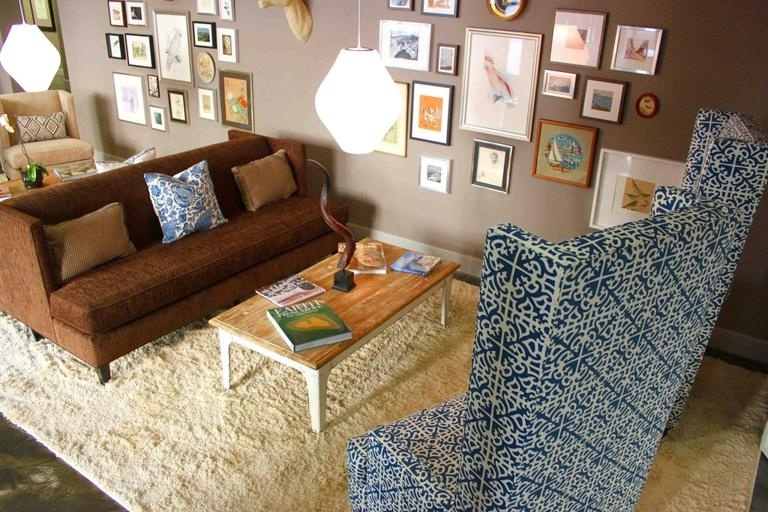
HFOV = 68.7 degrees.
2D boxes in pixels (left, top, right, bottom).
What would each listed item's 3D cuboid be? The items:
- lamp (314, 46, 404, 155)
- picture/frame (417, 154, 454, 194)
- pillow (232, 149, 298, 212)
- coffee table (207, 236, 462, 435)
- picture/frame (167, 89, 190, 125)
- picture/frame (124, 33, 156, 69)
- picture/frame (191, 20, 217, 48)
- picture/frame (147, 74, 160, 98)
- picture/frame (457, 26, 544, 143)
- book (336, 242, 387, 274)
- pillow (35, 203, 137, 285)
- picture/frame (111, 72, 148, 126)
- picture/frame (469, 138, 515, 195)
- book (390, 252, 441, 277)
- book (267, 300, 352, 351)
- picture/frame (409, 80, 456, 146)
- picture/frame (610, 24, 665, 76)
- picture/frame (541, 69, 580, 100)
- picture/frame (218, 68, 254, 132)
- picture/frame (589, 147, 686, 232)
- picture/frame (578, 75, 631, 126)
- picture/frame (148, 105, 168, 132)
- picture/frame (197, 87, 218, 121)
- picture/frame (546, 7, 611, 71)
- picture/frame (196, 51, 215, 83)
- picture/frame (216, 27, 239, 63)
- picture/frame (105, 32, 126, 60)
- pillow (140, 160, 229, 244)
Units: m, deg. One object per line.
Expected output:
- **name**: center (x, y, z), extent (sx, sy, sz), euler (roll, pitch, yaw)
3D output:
- **lamp**: center (-0.086, -1.082, 3.949), extent (0.592, 0.629, 0.579), euler (17, 41, 18)
- **picture/frame**: center (0.455, -0.729, 4.904), extent (0.307, 0.293, 0.030), euler (18, 30, 30)
- **pillow**: center (-1.016, -0.666, 4.957), extent (0.217, 0.397, 0.573), euler (-20, 11, 41)
- **coffee table**: center (-0.417, 0.142, 3.520), extent (0.992, 0.584, 1.643), euler (20, 35, 32)
- **picture/frame**: center (-2.241, -1.647, 6.150), extent (0.315, 0.368, 0.037), euler (18, 29, 32)
- **picture/frame**: center (-2.678, -2.275, 6.212), extent (0.386, 0.289, 0.027), euler (23, 34, 30)
- **picture/frame**: center (-1.810, -2.246, 5.682), extent (0.271, 0.226, 0.035), euler (16, 29, 29)
- **picture/frame**: center (-2.565, -1.899, 6.272), extent (0.205, 0.279, 0.029), euler (17, 28, 28)
- **picture/frame**: center (0.933, -1.370, 4.403), extent (0.774, 1.015, 0.044), euler (15, 29, 24)
- **book**: center (-0.128, 0.022, 4.074), extent (0.227, 0.047, 0.331), euler (0, 32, 1)
- **pillow**: center (-2.023, -0.074, 3.772), extent (0.163, 0.298, 0.469), euler (16, 30, 30)
- **picture/frame**: center (-2.938, -1.846, 6.528), extent (0.525, 0.530, 0.042), euler (23, 37, 34)
- **picture/frame**: center (0.894, -0.750, 4.619), extent (0.407, 0.442, 0.033), euler (14, 25, 30)
- **book**: center (0.222, 0.053, 4.055), extent (0.209, 0.048, 0.209), euler (11, 32, 22)
- **book**: center (-0.451, 0.404, 3.399), extent (0.320, 0.056, 0.306), euler (-11, 30, -27)
- **picture/frame**: center (0.420, -1.228, 4.755), extent (0.458, 0.545, 0.036), euler (19, 35, 31)
- **picture/frame**: center (1.759, -1.430, 3.882), extent (0.328, 0.329, 0.025), euler (18, 33, 29)
- **picture/frame**: center (1.321, -1.280, 4.190), extent (0.230, 0.173, 0.018), euler (20, 38, 29)
- **picture/frame**: center (-1.492, -1.607, 5.716), extent (0.603, 0.662, 0.029), euler (24, 37, 34)
- **picture/frame**: center (1.859, -0.422, 4.128), extent (0.055, 0.624, 0.661), euler (-17, 28, -37)
- **picture/frame**: center (1.603, -1.132, 4.063), extent (0.325, 0.321, 0.025), euler (20, 35, 27)
- **picture/frame**: center (-2.555, -1.569, 6.378), extent (0.258, 0.258, 0.027), euler (18, 27, 29)
- **picture/frame**: center (-1.847, -1.612, 5.911), extent (0.275, 0.313, 0.022), euler (24, 37, 34)
- **picture/frame**: center (1.412, -1.571, 4.043), extent (0.423, 0.424, 0.041), euler (17, 29, 27)
- **picture/frame**: center (-1.831, -1.957, 5.797), extent (0.267, 0.269, 0.021), euler (20, 29, 36)
- **picture/frame**: center (-1.547, -2.104, 5.584), extent (0.286, 0.326, 0.044), euler (18, 29, 27)
- **picture/frame**: center (-3.045, -2.371, 6.413), extent (0.318, 0.292, 0.077), euler (13, 21, 35)
- **pillow**: center (-1.527, -0.431, 4.379), extent (0.323, 0.481, 0.591), euler (24, 32, 22)
